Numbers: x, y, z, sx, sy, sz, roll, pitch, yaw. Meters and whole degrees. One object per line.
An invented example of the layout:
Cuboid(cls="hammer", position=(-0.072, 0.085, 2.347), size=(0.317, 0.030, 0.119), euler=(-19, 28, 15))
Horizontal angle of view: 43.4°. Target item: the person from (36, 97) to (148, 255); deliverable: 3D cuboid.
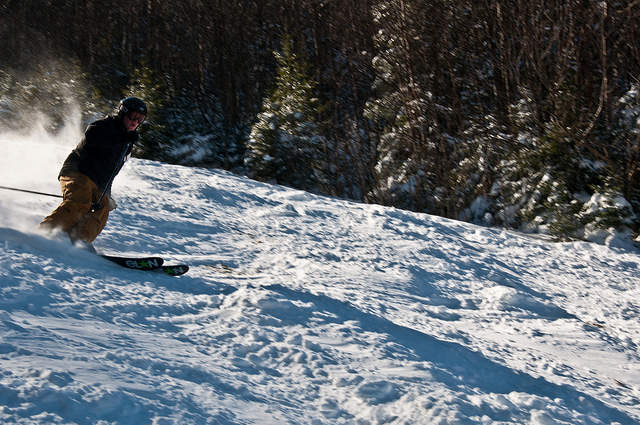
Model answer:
Cuboid(cls="person", position=(-4.006, -0.715, 14.223), size=(1.252, 2.759, 0.766), euler=(12, 8, -10))
